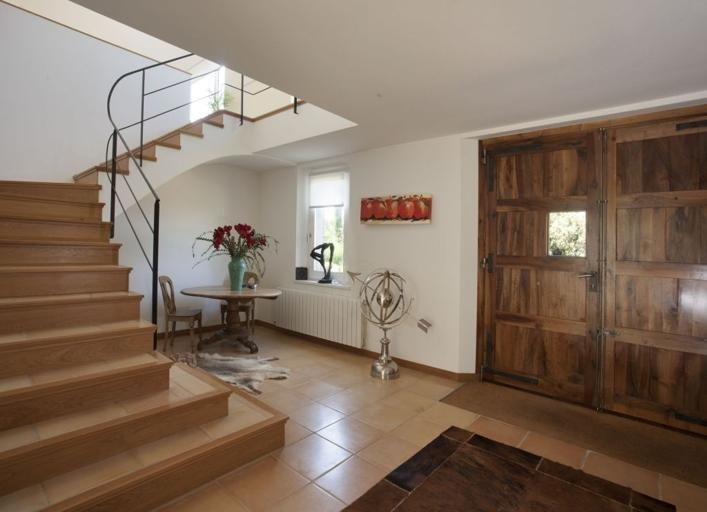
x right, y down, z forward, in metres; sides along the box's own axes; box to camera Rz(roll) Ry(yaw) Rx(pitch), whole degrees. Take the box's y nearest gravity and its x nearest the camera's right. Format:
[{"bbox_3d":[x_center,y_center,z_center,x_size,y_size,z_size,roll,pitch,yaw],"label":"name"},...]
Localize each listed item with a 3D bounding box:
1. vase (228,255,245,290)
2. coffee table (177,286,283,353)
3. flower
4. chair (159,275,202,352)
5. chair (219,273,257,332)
[{"bbox_3d":[-1.491,0.203,5.881,0.190,0.449,0.230,0,7,-16],"label":"vase"},{"bbox_3d":[-1.627,0.809,6.154,1.269,0.810,1.298,3,1,-24],"label":"coffee table"},{"bbox_3d":[-1.482,-0.099,5.917,0.974,0.588,1.144,-2,-8,-13],"label":"flower"},{"bbox_3d":[-2.244,0.716,5.993,0.487,0.958,1.276,-1,8,-20],"label":"chair"},{"bbox_3d":[-1.621,0.631,6.548,0.438,0.867,0.477,2,-4,5],"label":"chair"}]
